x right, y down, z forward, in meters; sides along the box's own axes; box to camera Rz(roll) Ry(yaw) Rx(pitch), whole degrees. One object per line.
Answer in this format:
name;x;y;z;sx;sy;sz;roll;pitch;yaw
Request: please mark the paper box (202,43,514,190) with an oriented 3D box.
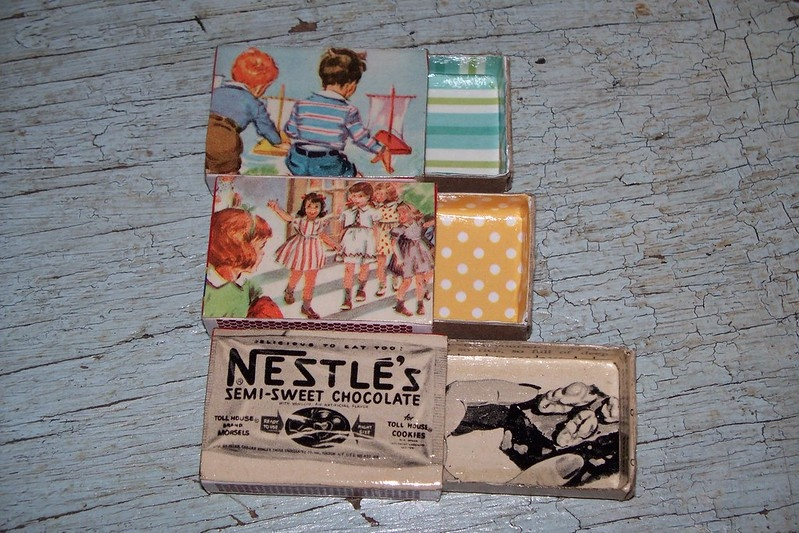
paper box;-0.122;-0.496;3.176;1.081;0.199;0.475;3;79;-4
